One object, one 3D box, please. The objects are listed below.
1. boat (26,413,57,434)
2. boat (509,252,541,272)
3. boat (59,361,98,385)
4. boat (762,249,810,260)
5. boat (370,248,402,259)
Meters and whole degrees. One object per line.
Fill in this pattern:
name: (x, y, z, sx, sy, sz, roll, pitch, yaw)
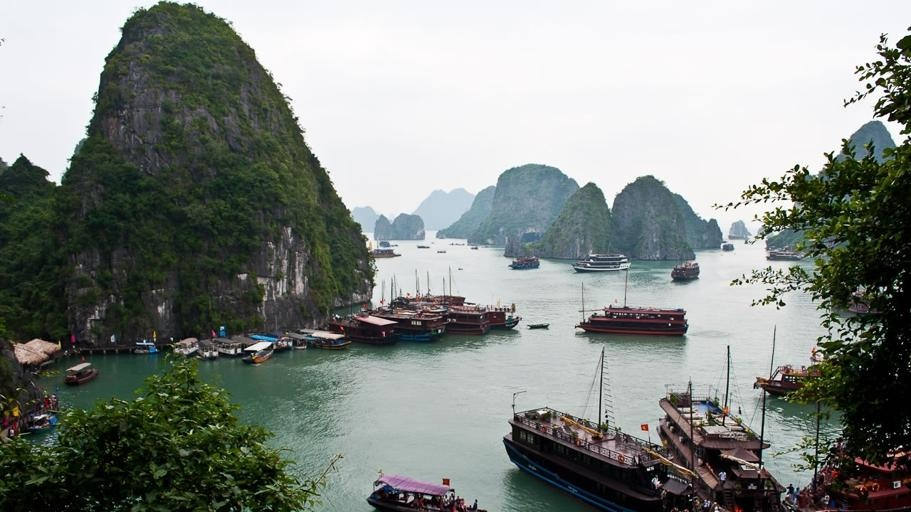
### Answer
boat: (-53.582, 22.199, 91.902, 3.676, 2.250, 6.508, 8, -1, -27)
boat: (24.656, 3.044, 248.180, 4.977, 5.021, 16.541, -1, -1, 28)
boat: (-55.108, 17.712, 105.415, 2.536, 2.408, 5.536, 11, 18, 19)
boat: (93.225, -0.088, 201.371, 8.056, 2.237, 5.336, 2, 6, 24)
boat: (-29.953, -0.563, 304.105, 9.763, 2.445, 20.589, -1, 5, -10)
